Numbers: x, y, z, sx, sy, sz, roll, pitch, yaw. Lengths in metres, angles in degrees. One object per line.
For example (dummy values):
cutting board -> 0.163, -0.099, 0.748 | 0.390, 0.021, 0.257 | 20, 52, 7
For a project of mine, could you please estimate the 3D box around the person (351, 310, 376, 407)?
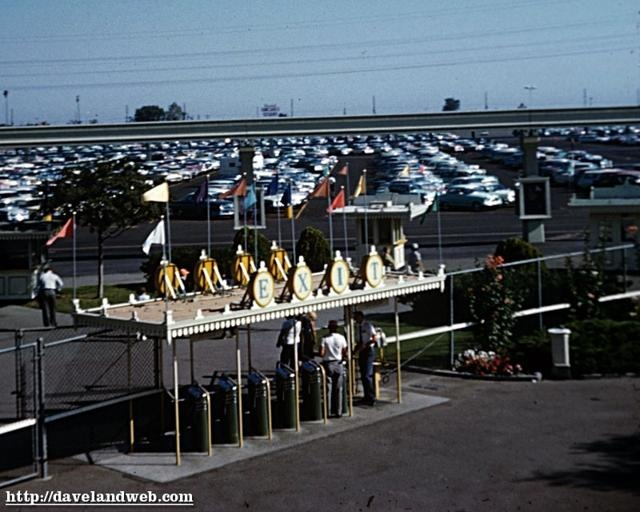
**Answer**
person -> 1.125, 2.411, 28.598 | 0.521, 2.241, 0.696 | -2, 4, 2

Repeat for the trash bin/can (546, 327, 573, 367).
trash bin/can -> 6.146, 2.296, 30.305 | 0.791, 1.013, 0.792 | -1, 4, 6

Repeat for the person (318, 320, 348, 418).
person -> 0.338, 2.769, 27.893 | 0.560, 1.894, 0.397 | -2, 4, 5
